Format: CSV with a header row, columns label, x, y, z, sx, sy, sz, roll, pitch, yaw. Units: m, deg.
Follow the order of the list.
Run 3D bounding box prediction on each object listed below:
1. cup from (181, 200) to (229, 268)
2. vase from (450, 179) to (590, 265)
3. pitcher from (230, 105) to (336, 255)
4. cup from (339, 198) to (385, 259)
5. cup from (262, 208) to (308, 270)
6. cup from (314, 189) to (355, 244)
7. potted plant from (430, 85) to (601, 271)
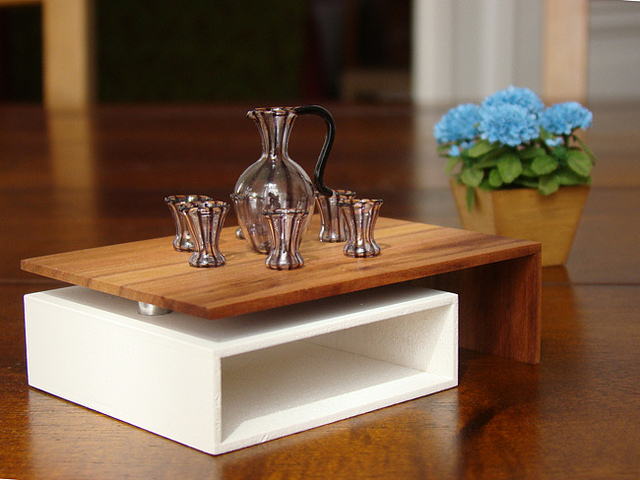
label,x,y,z,sx,sy,sz,roll,pitch,yaw
cup,-0.168,-0.005,1.050,0.081,0.091,0.075,-2,3,0
vase,0.484,-0.020,1.675,0.248,0.164,0.290,0,-3,-4
pitcher,-0.050,-0.103,1.131,0.103,0.223,0.181,10,20,37
cup,0.061,-0.016,1.088,0.077,0.087,0.073,-4,0,0
cup,-0.051,-0.002,1.014,0.065,0.083,0.041,-3,17,-2
cup,0.025,-0.037,1.198,0.083,0.079,0.083,1,-2,0
potted plant,0.509,-0.123,1.727,0.448,0.444,0.456,0,4,-10
